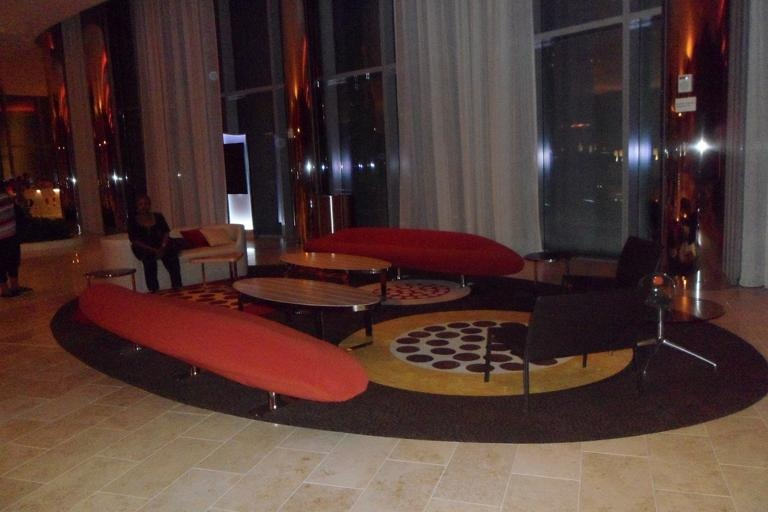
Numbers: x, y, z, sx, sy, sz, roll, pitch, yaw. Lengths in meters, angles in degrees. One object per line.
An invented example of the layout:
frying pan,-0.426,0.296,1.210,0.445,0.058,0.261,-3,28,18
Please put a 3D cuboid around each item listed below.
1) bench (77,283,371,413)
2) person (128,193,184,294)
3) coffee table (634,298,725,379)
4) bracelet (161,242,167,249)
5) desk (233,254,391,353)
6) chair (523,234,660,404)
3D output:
bench,-1.308,0.665,4.351,2.506,0.605,0.466,1,12,30
person,-3.009,-0.162,7.348,0.593,1.245,0.442,-9,11,-20
coffee table,2.281,0.606,4.595,0.689,0.462,0.587,-10,8,-1
bracelet,-2.840,-0.123,7.260,0.063,0.041,0.059,-1,9,-6
desk,-0.636,0.656,5.490,1.386,0.293,1.002,3,7,28
chair,1.355,0.406,4.197,0.919,0.800,0.862,14,-17,-37
